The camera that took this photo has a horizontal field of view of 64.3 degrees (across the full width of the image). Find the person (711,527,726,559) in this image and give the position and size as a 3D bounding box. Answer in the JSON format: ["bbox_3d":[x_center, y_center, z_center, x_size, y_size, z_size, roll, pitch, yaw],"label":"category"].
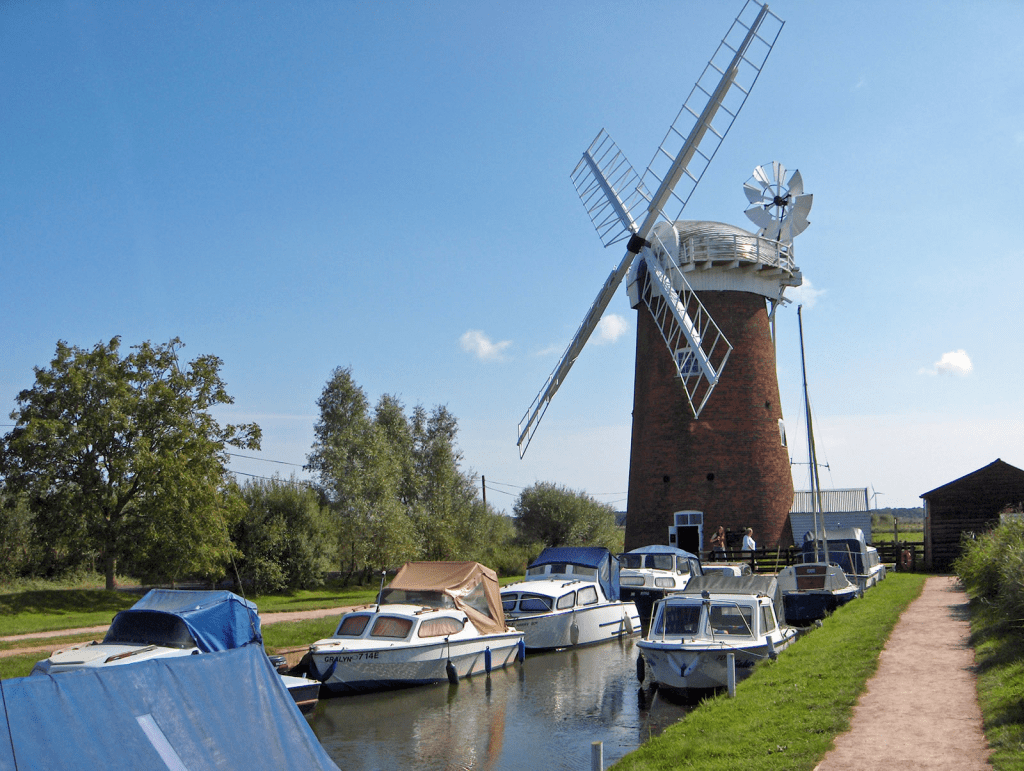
[{"bbox_3d":[9.605,7.402,37.874,0.747,1.171,0.423,2,-6,-8],"label":"person"}]

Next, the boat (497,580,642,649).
[{"bbox_3d":[1.686,7.205,25.492,2.078,1.101,3.114,-5,-6,37],"label":"boat"}]
